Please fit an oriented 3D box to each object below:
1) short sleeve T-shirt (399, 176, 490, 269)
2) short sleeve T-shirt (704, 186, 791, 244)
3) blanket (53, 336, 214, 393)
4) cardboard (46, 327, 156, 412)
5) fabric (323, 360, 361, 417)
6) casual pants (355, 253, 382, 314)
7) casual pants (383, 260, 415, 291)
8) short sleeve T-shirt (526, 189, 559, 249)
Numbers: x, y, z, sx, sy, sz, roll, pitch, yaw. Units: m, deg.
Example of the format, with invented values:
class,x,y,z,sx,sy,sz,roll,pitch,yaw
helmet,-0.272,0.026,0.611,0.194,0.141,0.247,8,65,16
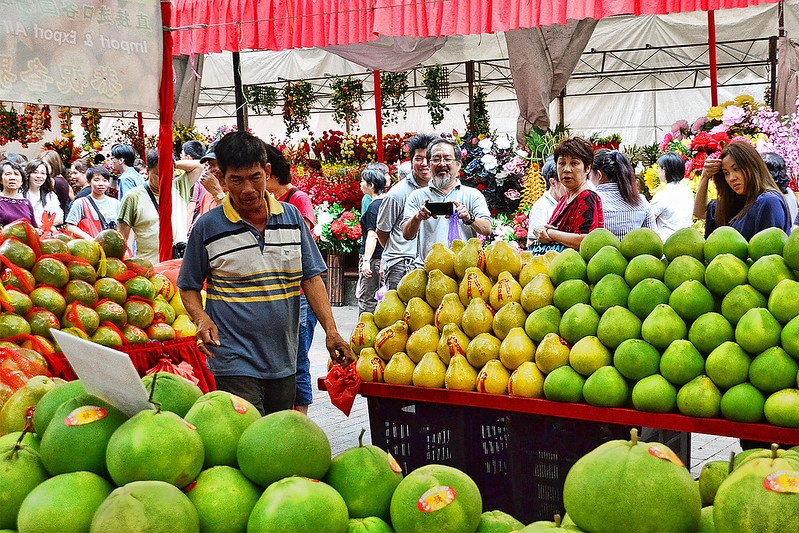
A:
class,x,y,z,sx,sy,sz,roll,pitch,yaw
short sleeve T-shirt,0.357,-0.342,5.347,0.671,0.743,0.683,-1,-6,2
short sleeve T-shirt,2.315,-0.343,4.252,0.249,0.434,0.455,3,-6,-6
blanket,-1.679,0.566,3.962,0.766,0.227,0.499,-4,0,14
cardboard,-1.156,0.381,2.431,0.359,0.252,0.264,13,34,40
fabric,-0.315,0.691,3.633,0.212,0.312,0.096,-6,-33,2
casual pants,-0.338,0.208,7.307,0.151,0.540,0.217,16,-12,-16
casual pants,-0.012,0.058,5.438,0.276,0.412,0.239,1,-4,3
short sleeve T-shirt,1.122,-0.438,5.064,0.311,0.496,0.580,3,15,15
